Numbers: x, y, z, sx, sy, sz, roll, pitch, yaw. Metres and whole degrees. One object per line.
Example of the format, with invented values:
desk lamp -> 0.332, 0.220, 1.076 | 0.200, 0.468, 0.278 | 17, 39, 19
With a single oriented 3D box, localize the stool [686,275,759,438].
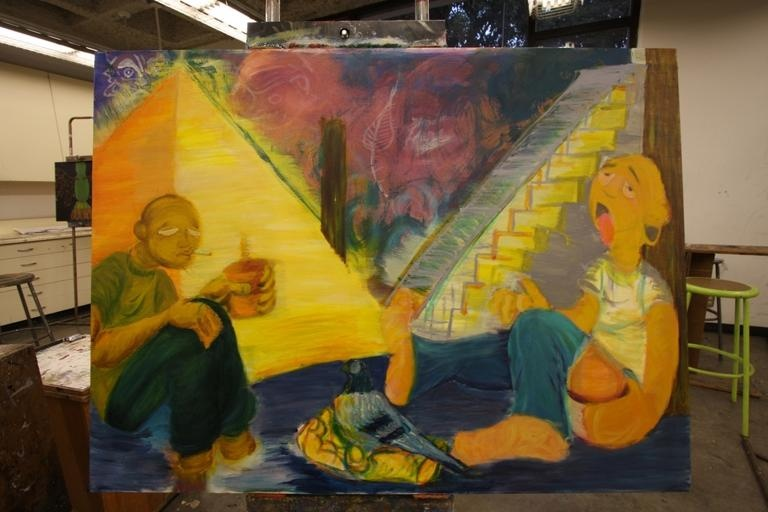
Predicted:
stool -> 2.445, 0.622, 5.563 | 0.452, 0.993, 1.159 | 2, 10, 26
